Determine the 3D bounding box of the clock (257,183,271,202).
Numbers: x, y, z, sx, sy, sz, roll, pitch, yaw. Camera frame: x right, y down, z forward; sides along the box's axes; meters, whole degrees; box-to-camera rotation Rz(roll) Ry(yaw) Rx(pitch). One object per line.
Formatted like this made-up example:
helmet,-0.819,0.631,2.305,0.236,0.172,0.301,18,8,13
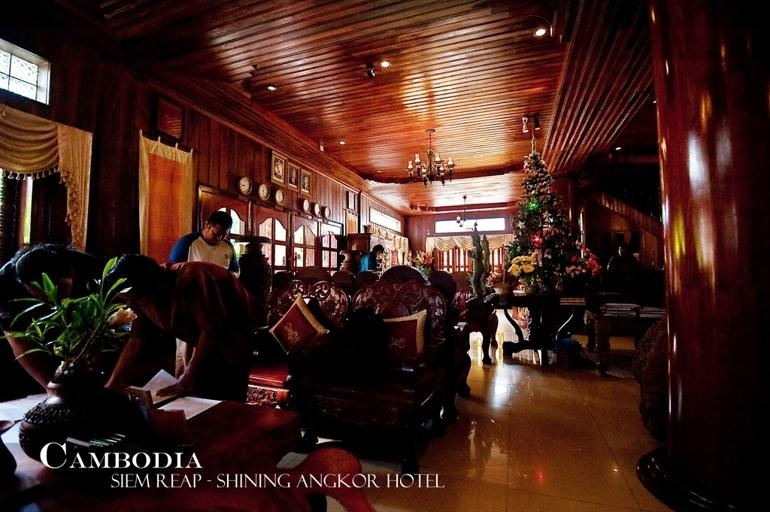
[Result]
clock,-1.832,-0.999,8.070,0.049,0.218,0.214,5,-40,21

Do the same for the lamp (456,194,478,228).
lamp,2.250,-1.199,14.892,0.503,1.086,2.105,0,12,8

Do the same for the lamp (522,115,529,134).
lamp,2.100,-1.978,7.923,0.149,0.301,0.174,2,8,17

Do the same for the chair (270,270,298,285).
chair,-1.071,0.224,5.571,0.188,0.208,0.199,9,-3,-9

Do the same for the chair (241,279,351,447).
chair,-0.570,0.917,4.837,1.004,1.500,1.056,-3,-23,17

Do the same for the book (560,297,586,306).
book,2.259,0.537,6.442,0.294,0.081,0.077,4,13,23

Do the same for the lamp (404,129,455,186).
lamp,0.720,-1.581,9.048,0.815,1.074,0.839,-2,-8,22

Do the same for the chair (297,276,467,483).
chair,0.011,0.918,4.602,1.006,1.242,1.328,5,13,28

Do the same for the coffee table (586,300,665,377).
coffee table,2.712,1.078,6.082,0.762,0.570,1.131,-1,-4,18

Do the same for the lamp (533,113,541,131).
lamp,2.268,-2.021,7.995,0.114,0.226,0.629,2,13,15

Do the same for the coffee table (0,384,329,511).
coffee table,-1.212,1.381,3.309,1.518,0.693,0.628,-2,11,-2

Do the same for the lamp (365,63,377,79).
lamp,-0.180,-2.254,6.444,0.092,0.126,0.122,-3,3,5

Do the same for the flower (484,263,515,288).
flower,2.472,0.404,11.494,0.915,0.506,1.161,-3,3,8

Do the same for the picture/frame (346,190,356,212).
picture/frame,-0.742,-1.201,11.359,0.060,0.317,0.455,-2,-3,18

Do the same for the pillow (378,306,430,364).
pillow,0.175,0.699,4.490,0.386,0.425,0.349,-7,-35,11

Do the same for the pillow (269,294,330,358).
pillow,-0.745,0.599,4.584,0.437,0.460,0.121,-39,-15,5

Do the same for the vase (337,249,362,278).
vase,-0.577,0.109,8.687,0.395,0.436,0.402,2,-7,-9

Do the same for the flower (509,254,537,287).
flower,1.764,0.169,6.908,0.240,0.442,0.377,-6,12,-24

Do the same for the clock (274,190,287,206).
clock,-1.680,-0.955,8.505,0.051,0.219,0.224,-4,-37,26

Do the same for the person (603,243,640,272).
person,4.169,0.067,9.397,0.637,0.270,0.734,7,14,26

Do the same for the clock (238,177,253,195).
clock,-2.015,-1.007,7.651,0.041,0.219,0.196,1,-8,32
